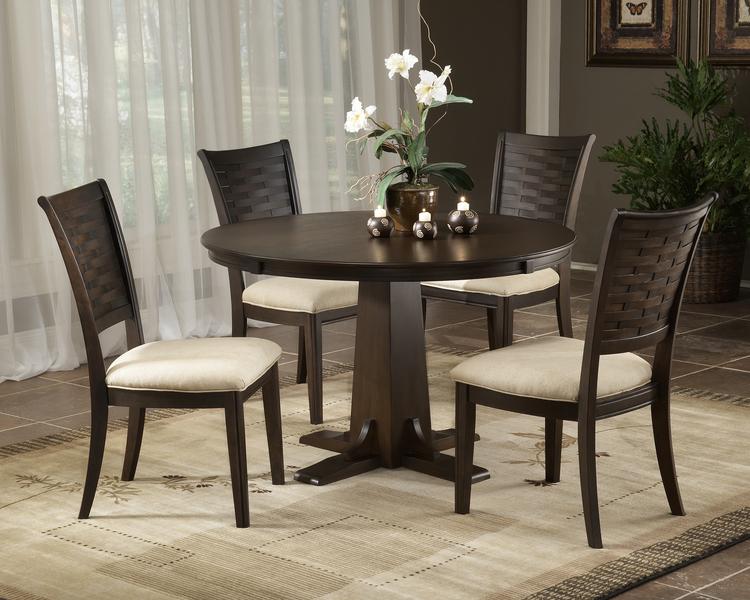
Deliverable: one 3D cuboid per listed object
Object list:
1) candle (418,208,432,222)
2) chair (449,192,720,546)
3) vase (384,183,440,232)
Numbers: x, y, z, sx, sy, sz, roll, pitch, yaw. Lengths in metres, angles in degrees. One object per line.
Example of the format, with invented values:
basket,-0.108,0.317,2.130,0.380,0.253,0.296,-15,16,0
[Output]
candle,0.162,-0.289,2.360,0.065,0.049,0.053,-4,14,-14
chair,0.588,0.181,2.042,0.550,0.950,0.477,9,17,38
vase,0.134,-0.330,2.500,0.197,0.129,0.199,4,7,44
